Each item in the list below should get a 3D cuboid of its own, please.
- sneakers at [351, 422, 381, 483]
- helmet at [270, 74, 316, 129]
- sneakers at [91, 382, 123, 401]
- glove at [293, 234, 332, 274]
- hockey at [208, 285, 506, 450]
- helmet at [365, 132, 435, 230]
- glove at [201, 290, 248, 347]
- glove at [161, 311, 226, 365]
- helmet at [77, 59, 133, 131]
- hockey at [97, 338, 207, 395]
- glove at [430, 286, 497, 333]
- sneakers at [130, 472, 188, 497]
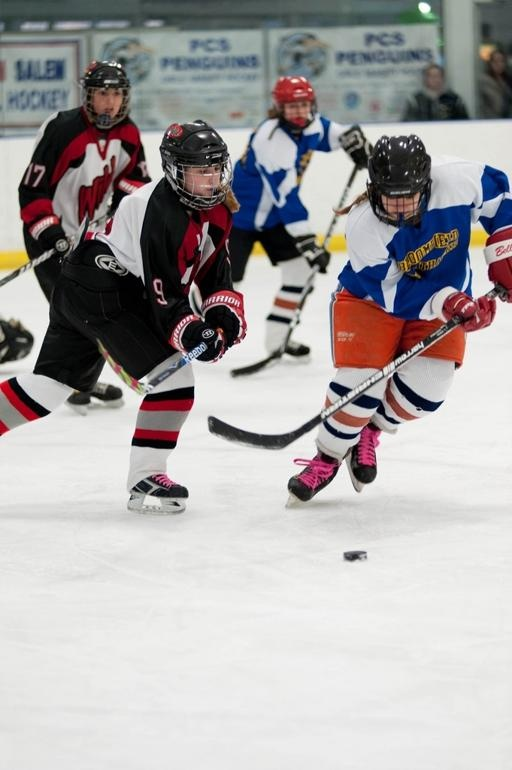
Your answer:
[{"bbox_3d":[0.303,0.194,2.282,0.061,0.070,0.182,19,29,-11],"label":"sneakers"},{"bbox_3d":[0.176,-1.367,3.833,0.214,0.227,0.251,-14,27,-16],"label":"helmet"},{"bbox_3d":[-0.628,0.031,3.341,0.134,0.050,0.042,18,9,-16],"label":"sneakers"},{"bbox_3d":[0.244,-0.635,3.956,0.164,0.189,0.079,-15,-9,-46],"label":"glove"},{"bbox_3d":[0.332,-0.034,2.716,1.412,0.244,0.113,-30,-46,27],"label":"hockey"},{"bbox_3d":[0.346,-0.474,1.875,0.171,0.201,0.196,-1,51,15],"label":"helmet"},{"bbox_3d":[-0.086,-0.176,2.085,0.123,0.142,0.063,12,-19,-22],"label":"glove"},{"bbox_3d":[-0.144,-0.110,1.911,0.136,0.102,0.059,38,10,2],"label":"glove"},{"bbox_3d":[-0.556,-1.075,2.974,0.218,0.248,0.247,-5,43,-11],"label":"helmet"},{"bbox_3d":[-0.259,-0.063,2.014,0.175,0.051,0.170,-37,29,-9],"label":"hockey"},{"bbox_3d":[0.492,-0.185,1.939,0.130,0.060,0.092,20,29,31],"label":"glove"},{"bbox_3d":[-0.252,0.266,2.089,0.165,0.058,0.053,0,-7,15],"label":"sneakers"}]
